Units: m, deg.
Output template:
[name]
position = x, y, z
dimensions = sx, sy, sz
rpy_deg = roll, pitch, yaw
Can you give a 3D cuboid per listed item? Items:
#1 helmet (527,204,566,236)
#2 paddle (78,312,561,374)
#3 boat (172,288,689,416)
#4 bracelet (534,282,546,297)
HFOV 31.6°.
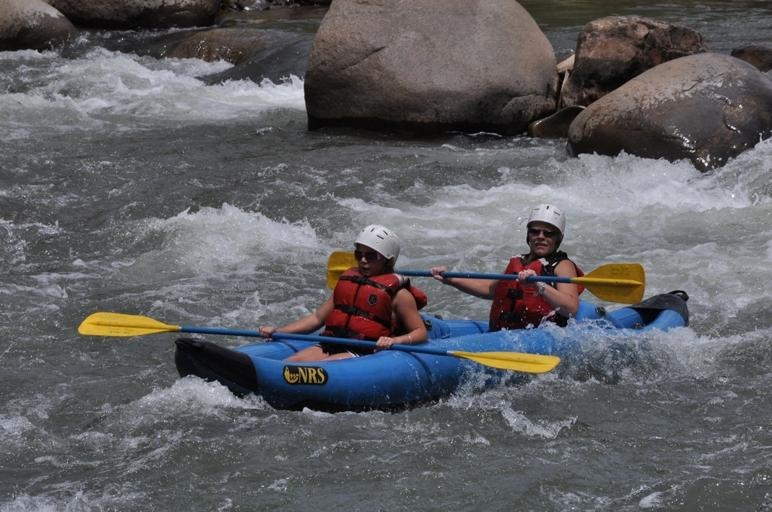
[helmet]
position = 1.832, -0.452, 15.163
dimensions = 0.321, 0.294, 0.379
rpy_deg = 15, -12, -18
[paddle]
position = -0.654, 0.979, 14.756
dimensions = 3.533, 0.114, 0.438
rpy_deg = 5, -27, -4
[boat]
position = 0.371, 1.125, 14.829
dimensions = 6.077, 0.857, 1.785
rpy_deg = -2, 10, -19
[bracelet]
position = 1.678, 0.366, 14.805
dimensions = 0.109, 0.120, 0.055
rpy_deg = 5, 8, 39
